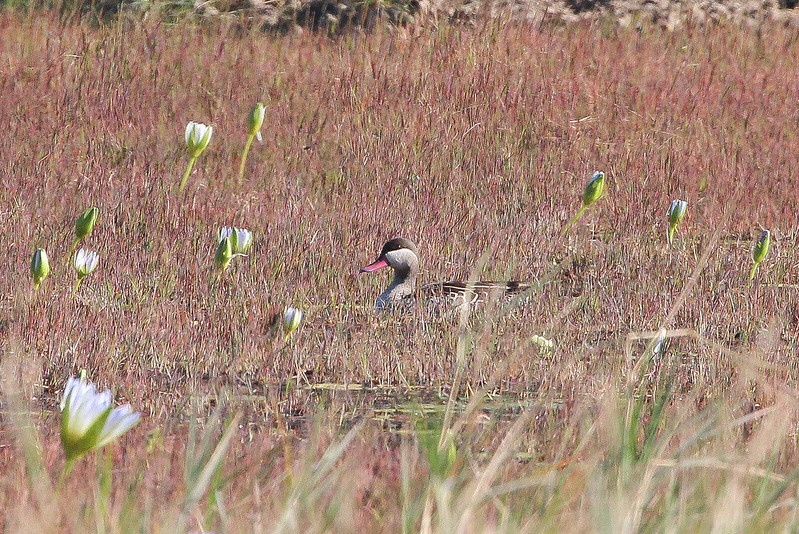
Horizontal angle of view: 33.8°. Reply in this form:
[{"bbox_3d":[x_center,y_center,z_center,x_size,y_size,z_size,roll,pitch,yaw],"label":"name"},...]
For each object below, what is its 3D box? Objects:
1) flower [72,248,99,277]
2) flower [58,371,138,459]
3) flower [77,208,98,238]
[{"bbox_3d":[-2.173,-0.058,9.159,0.141,0.218,0.242,7,44,-5],"label":"flower"},{"bbox_3d":[-1.645,0.851,7.211,0.416,0.389,0.392,20,84,28],"label":"flower"},{"bbox_3d":[-2.106,-0.310,8.839,0.138,0.265,0.132,-2,44,-14],"label":"flower"}]
